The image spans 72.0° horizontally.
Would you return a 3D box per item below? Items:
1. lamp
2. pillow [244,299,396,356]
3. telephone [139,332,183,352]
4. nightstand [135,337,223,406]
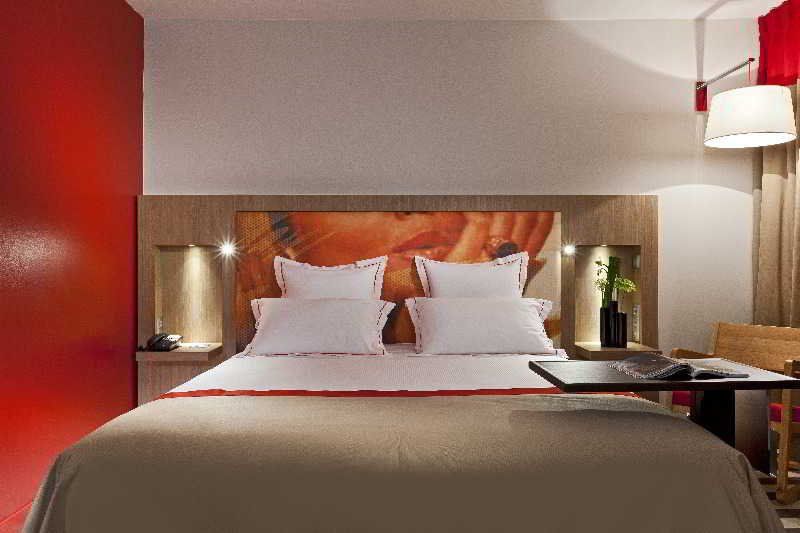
[{"bbox_3d":[2.415,-1.038,3.819,0.470,0.560,0.854,0,-3,1],"label":"lamp"},{"bbox_3d":[-0.594,0.436,3.924,0.822,0.449,0.192,2,-32,0],"label":"pillow"},{"bbox_3d":[-1.850,0.598,4.321,0.192,0.067,0.193,-3,9,1],"label":"telephone"},{"bbox_3d":[-1.704,0.743,4.441,0.723,0.654,0.453,0,2,1],"label":"nightstand"}]
